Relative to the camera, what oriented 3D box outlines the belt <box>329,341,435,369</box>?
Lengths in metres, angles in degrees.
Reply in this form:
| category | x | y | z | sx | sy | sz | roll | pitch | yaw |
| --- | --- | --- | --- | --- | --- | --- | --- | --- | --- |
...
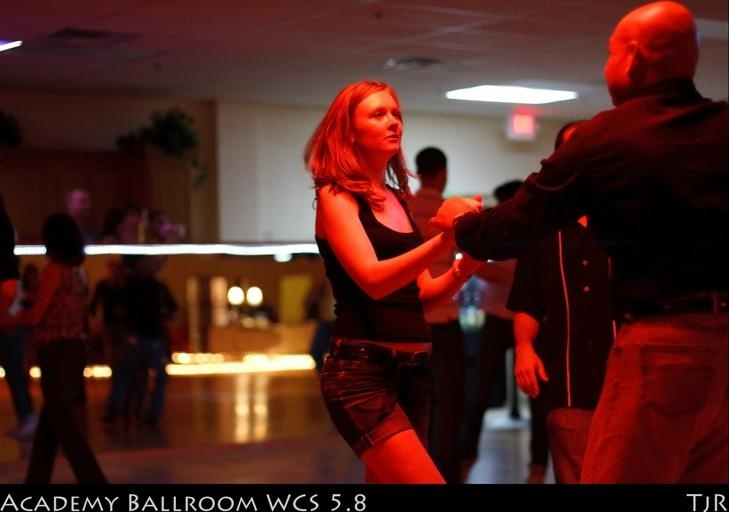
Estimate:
| category | x | y | z | sx | sy | sz | roll | pitch | yaw |
| --- | --- | --- | --- | --- | --- | --- | --- | --- | --- |
| belt | 0.037 | 0.300 | 2.317 | 0.316 | 0.081 | 0.094 | 1 | -13 | -3 |

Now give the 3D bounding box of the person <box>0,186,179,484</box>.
| category | x | y | z | sx | sy | sz | roll | pitch | yaw |
| --- | --- | --- | --- | --- | --- | --- | --- | --- | --- |
| person | -1.467 | 0.437 | 3.652 | 0.472 | 1.270 | 0.291 | 5 | -13 | -18 |
